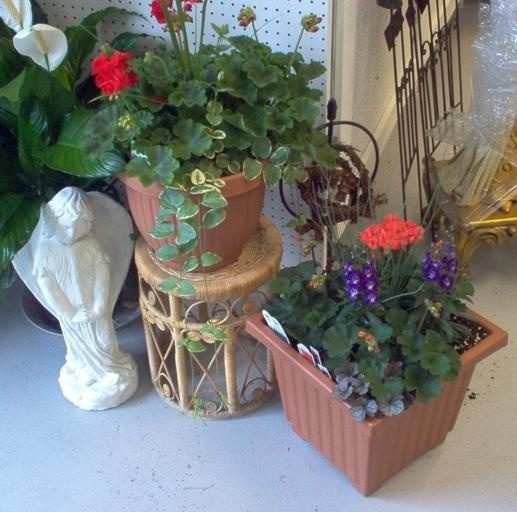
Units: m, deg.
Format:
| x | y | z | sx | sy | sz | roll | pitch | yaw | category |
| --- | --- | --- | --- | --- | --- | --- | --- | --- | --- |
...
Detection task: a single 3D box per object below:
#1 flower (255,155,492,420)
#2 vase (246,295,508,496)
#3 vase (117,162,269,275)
| x | y | z | sx | sy | sz | roll | pitch | yaw | category |
| --- | --- | --- | --- | --- | --- | --- | --- | --- | --- |
| 0.244 | 0.111 | 1.366 | 0.416 | 0.240 | 0.395 | -32 | 38 | -30 | flower |
| 0.288 | 0.401 | 1.622 | 0.560 | 0.449 | 0.549 | -27 | 46 | -31 | vase |
| -0.155 | -0.123 | 1.494 | 0.282 | 0.214 | 0.282 | -30 | 46 | -35 | vase |
